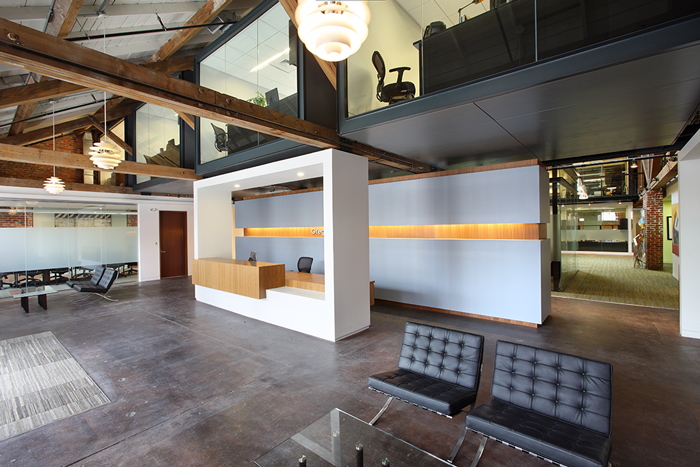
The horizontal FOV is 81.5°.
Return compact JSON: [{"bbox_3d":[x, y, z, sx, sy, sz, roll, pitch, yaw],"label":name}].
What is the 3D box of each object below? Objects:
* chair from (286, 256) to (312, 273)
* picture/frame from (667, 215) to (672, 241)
[{"bbox_3d":[-1.421,0.917,12.013,0.520,0.720,0.532,-2,-3,19],"label":"chair"},{"bbox_3d":[11.818,-0.214,14.979,0.086,1.053,0.974,-1,1,30],"label":"picture/frame"}]
